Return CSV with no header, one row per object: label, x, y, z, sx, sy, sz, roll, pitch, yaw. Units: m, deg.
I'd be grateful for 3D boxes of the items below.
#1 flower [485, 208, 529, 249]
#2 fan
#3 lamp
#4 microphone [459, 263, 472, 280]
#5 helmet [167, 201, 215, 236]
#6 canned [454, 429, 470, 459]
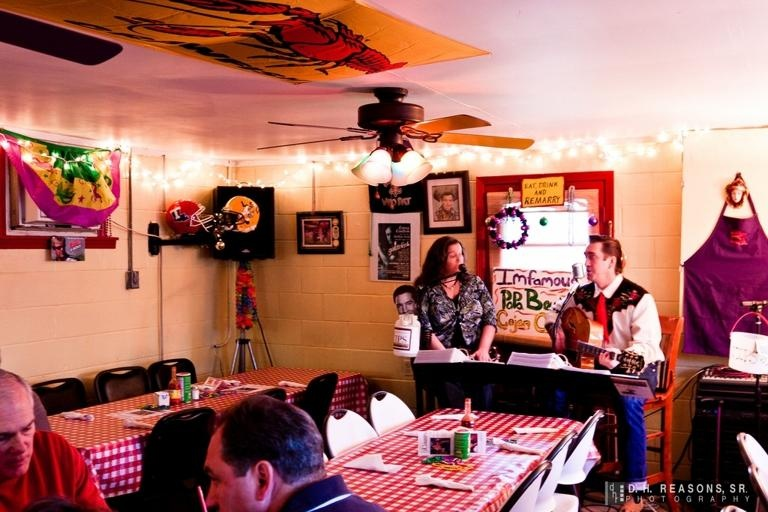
flower,1.228,-0.274,5.783,0.433,0.440,0.200,-1,7,10
fan,0.245,-0.905,3.968,0.809,0.193,0.919,-8,-8,44
lamp,0.050,-0.707,4.160,0.580,0.250,0.510,-10,-10,18
microphone,0.714,0.138,5.136,0.114,0.114,0.043,1,-35,-11
helmet,-2.049,-0.409,6.110,0.477,0.258,0.306,-5,8,-9
canned,0.448,1.086,3.351,0.089,0.154,0.100,1,7,24
